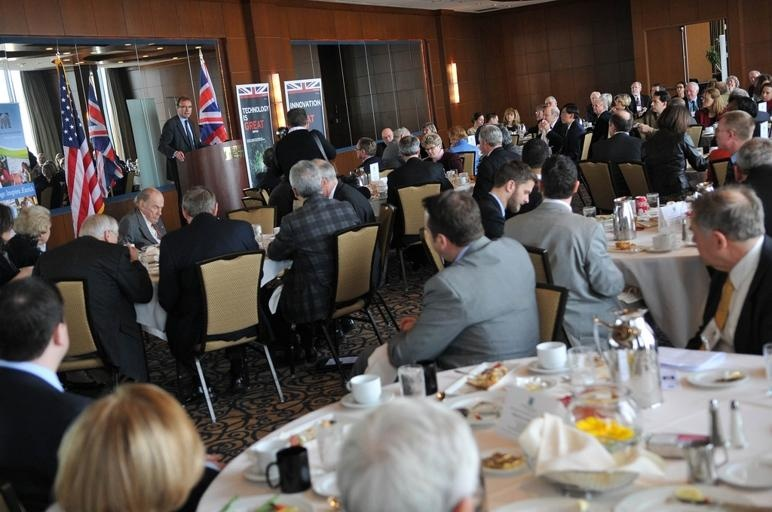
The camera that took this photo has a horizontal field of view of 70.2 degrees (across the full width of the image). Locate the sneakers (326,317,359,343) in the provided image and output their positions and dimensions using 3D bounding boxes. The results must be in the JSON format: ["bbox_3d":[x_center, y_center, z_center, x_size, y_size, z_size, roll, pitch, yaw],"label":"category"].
[{"bbox_3d":[-0.404,0.676,5.041,0.120,0.172,0.401,0,11,15],"label":"sneakers"}]

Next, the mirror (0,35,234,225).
[{"bbox_3d":[-3.852,-1.741,7.661,0.064,1.811,3.025,-1,9,34],"label":"mirror"}]

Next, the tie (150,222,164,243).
[{"bbox_3d":[-2.190,-0.222,5.235,0.052,0.170,0.124,-15,10,19],"label":"tie"}]

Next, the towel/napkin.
[{"bbox_3d":[0.482,0.490,1.415,0.231,0.102,0.216,23,28,37],"label":"towel/napkin"}]
